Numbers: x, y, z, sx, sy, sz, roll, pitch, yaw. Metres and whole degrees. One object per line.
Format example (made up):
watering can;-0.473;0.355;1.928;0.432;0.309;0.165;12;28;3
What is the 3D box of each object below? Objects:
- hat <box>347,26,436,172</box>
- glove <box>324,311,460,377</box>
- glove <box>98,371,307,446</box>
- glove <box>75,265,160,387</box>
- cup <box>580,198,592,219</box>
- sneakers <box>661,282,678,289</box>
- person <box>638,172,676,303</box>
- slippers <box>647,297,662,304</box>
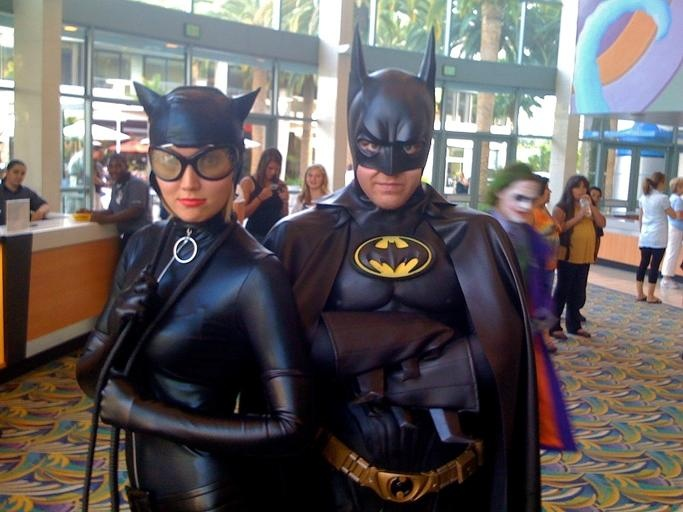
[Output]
hat;0.189;-0.538;1.914;0.305;0.521;0.263;0;10;-2
glove;0.149;0.251;1.661;0.319;0.142;0.196;0;36;-15
glove;-0.356;0.427;1.397;0.316;0.107;0.256;10;-30;-8
glove;-0.635;0.228;1.499;0.091;0.393;0.208;9;27;-32
cup;2.496;-0.486;5.504;0.166;0.191;0.090;-1;10;-15
sneakers;5.252;0.471;8.665;0.227;0.103;0.128;-2;10;-19
person;4.414;-0.255;7.674;0.481;1.784;0.645;8;12;31
slippers;4.376;0.631;7.611;0.213;0.095;0.069;-11;17;-18
